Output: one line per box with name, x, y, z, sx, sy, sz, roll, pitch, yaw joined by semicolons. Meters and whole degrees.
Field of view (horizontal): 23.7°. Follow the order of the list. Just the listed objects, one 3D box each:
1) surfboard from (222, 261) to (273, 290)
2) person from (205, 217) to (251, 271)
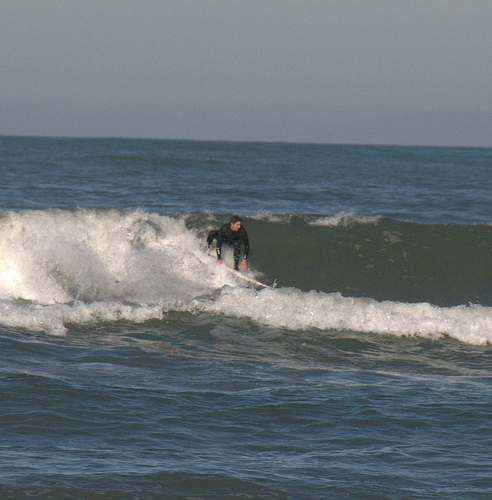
surfboard;0.006;0.509;22.050;1.404;0.135;0.191;16;54;31
person;-0.226;-0.179;22.009;0.858;1.006;1.100;-3;-35;-8
